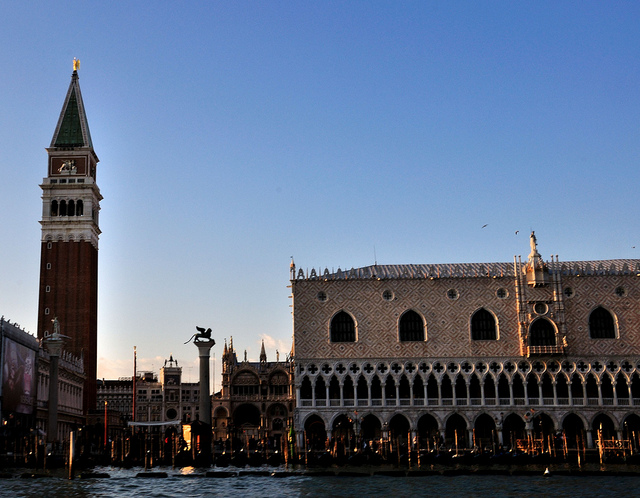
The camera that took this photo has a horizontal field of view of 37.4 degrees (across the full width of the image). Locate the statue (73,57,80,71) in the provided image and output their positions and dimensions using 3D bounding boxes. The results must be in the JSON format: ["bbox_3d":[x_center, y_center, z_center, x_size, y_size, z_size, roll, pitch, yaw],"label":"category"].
[{"bbox_3d":[-34.512,-25.942,134.009,0.560,1.850,2.048,2,-6,-21],"label":"statue"}]
